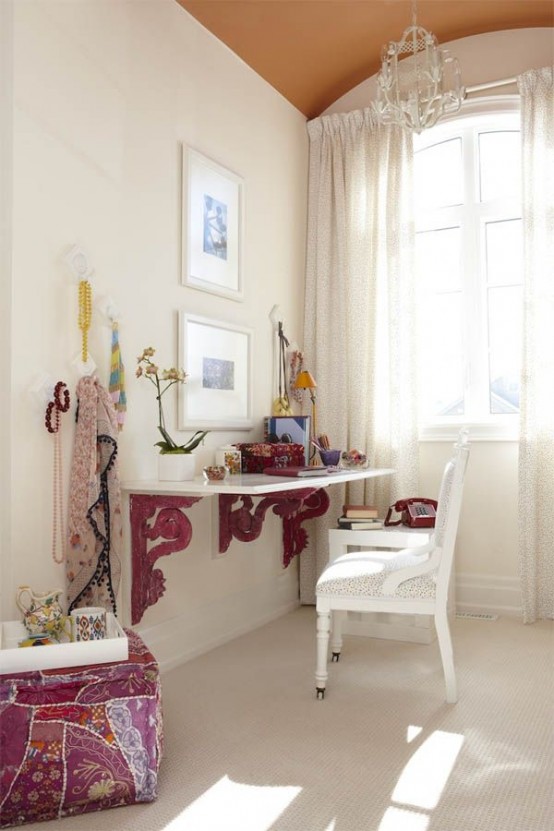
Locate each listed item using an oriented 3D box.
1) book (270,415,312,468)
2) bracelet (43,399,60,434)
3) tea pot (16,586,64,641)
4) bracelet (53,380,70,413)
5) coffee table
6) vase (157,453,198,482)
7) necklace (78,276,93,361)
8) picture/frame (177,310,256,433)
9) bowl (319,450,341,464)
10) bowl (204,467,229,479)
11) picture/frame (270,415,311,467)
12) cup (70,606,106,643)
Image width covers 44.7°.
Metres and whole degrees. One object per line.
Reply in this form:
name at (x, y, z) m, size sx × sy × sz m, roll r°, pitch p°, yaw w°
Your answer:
book at (0.054, 0.116, 2.945) m, size 0.218 × 0.291 × 0.039 m, roll 0°, pitch 2°, yaw 27°
bracelet at (-0.667, 0.010, 1.993) m, size 0.028 × 0.062 × 0.081 m, roll 8°, pitch -29°, yaw -19°
tea pot at (-0.605, 0.499, 1.692) m, size 0.124 × 0.150 × 0.084 m, roll 7°, pitch -8°, yaw -30°
bracelet at (-0.630, -0.053, 2.011) m, size 0.028 × 0.082 × 0.062 m, roll 1°, pitch -19°, yaw -4°
coffee table at (0.508, 0.767, 3.062) m, size 0.617 × 0.446 × 0.633 m, roll 6°, pitch -8°, yaw -33°
vase at (-0.349, 0.173, 2.267) m, size 0.129 × 0.094 × 0.149 m, roll -2°, pitch 3°, yaw -2°
necklace at (-0.607, -0.300, 2.135) m, size 0.048 × 0.269 × 0.129 m, roll -2°, pitch 3°, yaw -15°
picture/frame at (-0.267, -0.180, 2.818) m, size 0.024 × 0.458 × 0.542 m, roll -2°, pitch -2°, yaw 22°
bowl at (0.251, 0.197, 3.173) m, size 0.077 × 0.055 × 0.072 m, roll -1°, pitch -3°, yaw 0°
bowl at (-0.209, 0.187, 2.270) m, size 0.048 × 0.026 × 0.050 m, roll 1°, pitch 0°, yaw 0°
picture/frame at (0.055, 0.114, 2.947) m, size 0.218 × 0.291 × 0.039 m, roll 0°, pitch 2°, yaw 26°
cup at (-0.470, 0.520, 1.688) m, size 0.092 × 0.069 × 0.068 m, roll -1°, pitch 1°, yaw -14°
